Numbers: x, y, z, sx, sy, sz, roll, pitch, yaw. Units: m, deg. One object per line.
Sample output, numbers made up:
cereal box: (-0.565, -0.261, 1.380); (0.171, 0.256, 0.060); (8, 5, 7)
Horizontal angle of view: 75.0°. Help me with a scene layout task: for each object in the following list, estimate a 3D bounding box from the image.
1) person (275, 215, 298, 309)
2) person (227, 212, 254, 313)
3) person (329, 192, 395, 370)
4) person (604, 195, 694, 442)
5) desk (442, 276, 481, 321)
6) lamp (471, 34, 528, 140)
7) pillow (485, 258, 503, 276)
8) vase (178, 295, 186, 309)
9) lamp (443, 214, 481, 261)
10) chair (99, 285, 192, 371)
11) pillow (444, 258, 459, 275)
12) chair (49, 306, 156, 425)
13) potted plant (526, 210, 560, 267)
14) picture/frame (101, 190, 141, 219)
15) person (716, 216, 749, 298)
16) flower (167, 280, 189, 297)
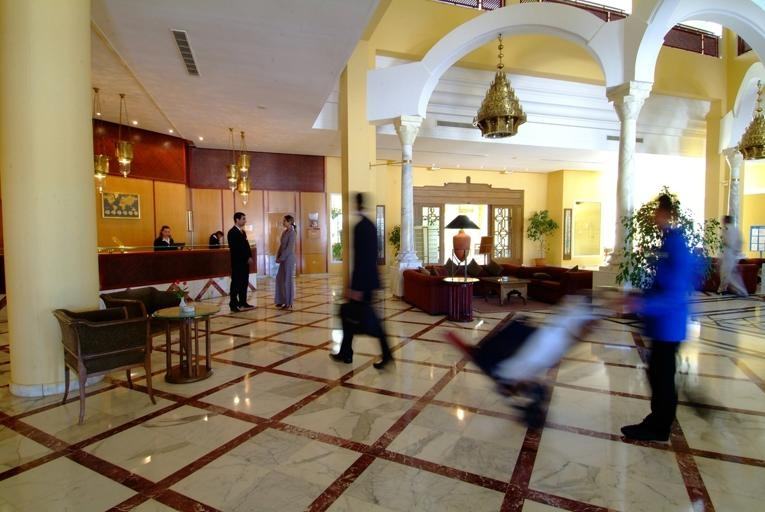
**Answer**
person: (-1.987, 0.126, 10.183); (0.456, 1.917, 1.044); (-2, 4, -11)
person: (-2.998, 0.089, 10.502); (0.459, 1.985, 1.139); (-2, 5, -15)
person: (-0.283, 0.355, 6.844); (0.457, 2.394, 0.776); (-6, 6, -44)
person: (3.007, 0.673, 5.443); (0.729, 2.655, 0.406); (0, 5, 12)
desk: (1.431, 0.843, 9.356); (0.727, 0.753, 0.703); (3, -8, 6)
lamp: (2.363, -3.511, 10.151); (1.008, 2.056, 0.540); (0, 5, 10)
pillow: (2.768, 0.318, 12.446); (0.384, 0.381, 0.155); (-44, -14, 5)
vase: (-2.664, 0.615, 6.702); (0.085, 0.142, 0.285); (-3, 5, -22)
lamp: (1.807, -0.415, 11.842); (0.972, 0.998, 0.966); (12, 6, 35)
chair: (-3.318, 0.908, 7.105); (0.903, 0.869, 0.994); (-1, 3, 23)
pillow: (1.599, 0.266, 11.541); (0.120, 0.355, 0.381); (6, -29, 25)
chair: (-3.593, 1.205, 6.595); (1.385, 1.633, 1.201); (-4, 8, -38)
potted plant: (5.988, -0.849, 18.874); (1.088, 1.848, 0.721); (-4, 5, -28)
picture/frame: (-6.322, -1.243, 12.020); (0.106, 0.511, 0.767); (-1, 2, 33)
person: (7.724, 0.005, 11.011); (0.542, 1.784, 0.881); (2, 5, 36)
flower: (-3.717, 0.572, 9.052); (0.314, 0.300, 0.305); (-7, 6, -37)
